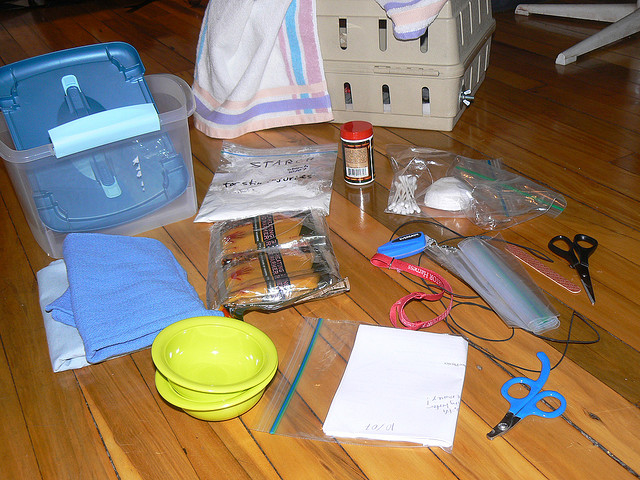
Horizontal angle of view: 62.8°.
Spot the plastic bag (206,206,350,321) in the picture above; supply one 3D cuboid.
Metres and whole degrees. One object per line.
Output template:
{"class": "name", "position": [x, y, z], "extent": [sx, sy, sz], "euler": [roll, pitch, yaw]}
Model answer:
{"class": "plastic bag", "position": [-0.122, 0.041, 1.352], "extent": [0.351, 0.079, 0.377], "euler": [-7, 43, -6]}

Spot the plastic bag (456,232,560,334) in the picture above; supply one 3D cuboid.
{"class": "plastic bag", "position": [0.442, 0.094, 1.258], "extent": [0.159, 0.040, 0.313], "euler": [-21, 39, -4]}

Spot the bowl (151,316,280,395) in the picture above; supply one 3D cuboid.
{"class": "bowl", "position": [-0.210, 0.227, 1.052], "extent": [0.175, 0.048, 0.172], "euler": [7, 27, -4]}
